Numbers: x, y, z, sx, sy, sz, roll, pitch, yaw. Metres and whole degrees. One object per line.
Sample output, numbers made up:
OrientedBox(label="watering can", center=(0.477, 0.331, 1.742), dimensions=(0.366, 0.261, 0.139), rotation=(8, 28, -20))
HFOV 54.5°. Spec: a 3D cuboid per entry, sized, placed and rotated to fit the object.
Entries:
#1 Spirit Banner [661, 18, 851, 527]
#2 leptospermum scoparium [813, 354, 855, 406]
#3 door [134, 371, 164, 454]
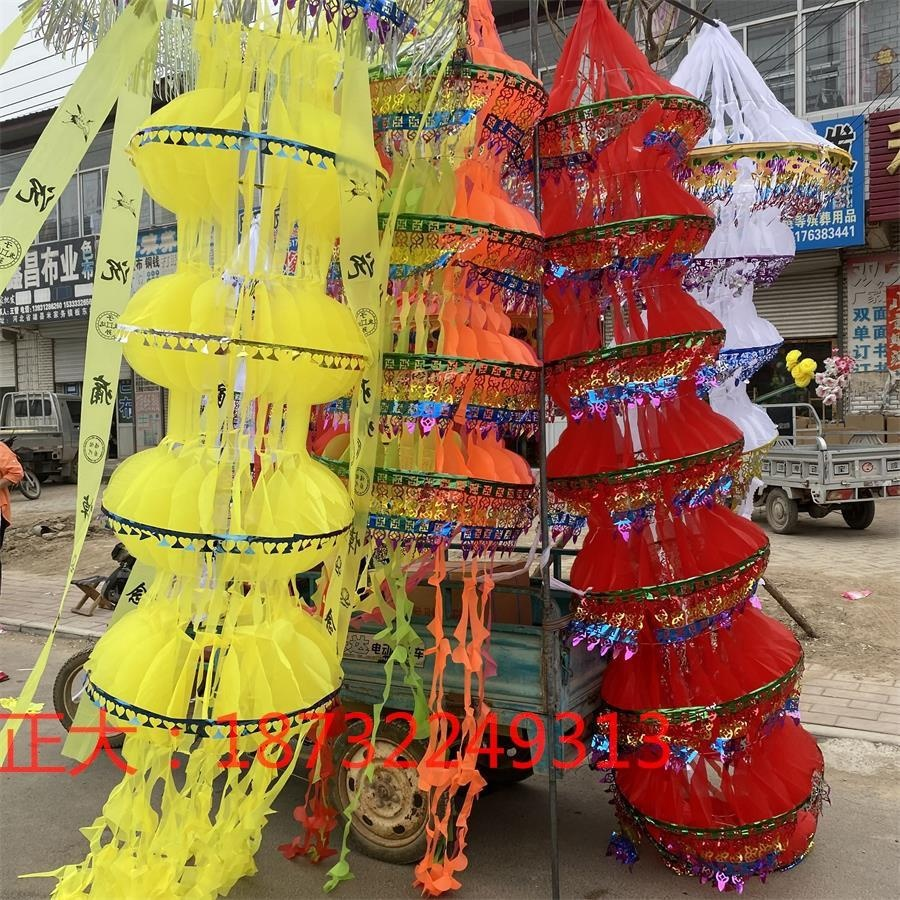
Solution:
OrientedBox(label="Spirit Banner", center=(1.479, -1.027, 5.064), dimensions=(1.002, 2.857, 1.265), rotation=(1, 6, -10))
OrientedBox(label="leptospermum scoparium", center=(6.421, -1.157, 14.427), dimensions=(0.396, 0.783, 0.324), rotation=(-9, -33, 36))
OrientedBox(label="door", center=(-7.394, -0.848, 20.782), dimensions=(0.670, 1.604, 0.712), rotation=(-6, 11, 10))
